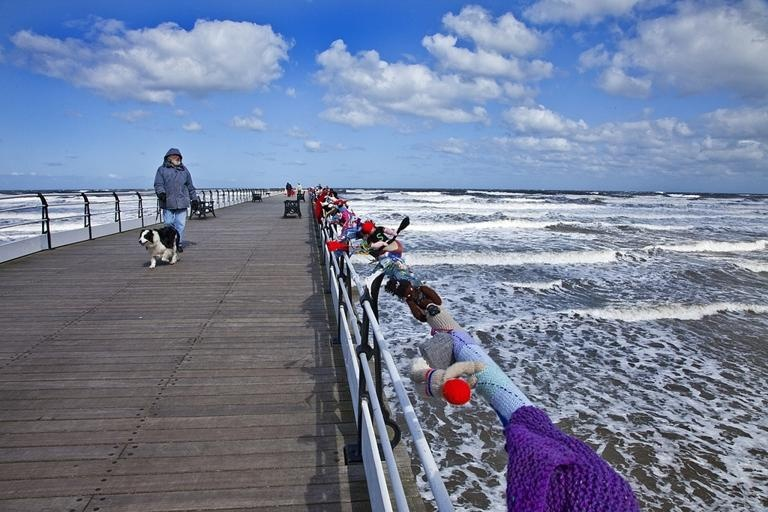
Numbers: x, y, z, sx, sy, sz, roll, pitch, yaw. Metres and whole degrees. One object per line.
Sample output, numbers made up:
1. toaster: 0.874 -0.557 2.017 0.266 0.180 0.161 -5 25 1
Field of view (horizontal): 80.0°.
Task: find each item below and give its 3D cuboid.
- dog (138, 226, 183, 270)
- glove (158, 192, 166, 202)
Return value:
1. dog: -4.948 -0.221 10.043 0.557 0.857 1.088 -1 14 -10
2. glove: -5.261 -1.381 10.757 0.051 0.177 0.206 8 5 39
